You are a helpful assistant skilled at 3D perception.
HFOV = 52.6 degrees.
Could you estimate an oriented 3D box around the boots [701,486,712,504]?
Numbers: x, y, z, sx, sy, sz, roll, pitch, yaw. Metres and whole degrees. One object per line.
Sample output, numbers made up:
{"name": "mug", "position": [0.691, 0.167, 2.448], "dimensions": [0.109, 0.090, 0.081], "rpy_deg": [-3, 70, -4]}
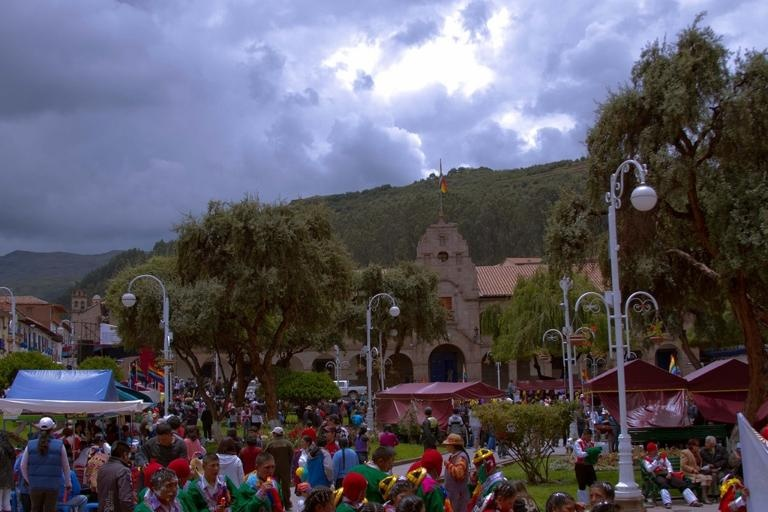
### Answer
{"name": "boots", "position": [10.159, 7.442, 24.369], "dimensions": [0.289, 0.536, 0.684], "rpy_deg": [-11, -20, 35]}

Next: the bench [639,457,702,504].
{"name": "bench", "position": [8.943, 6.998, 24.691], "dimensions": [0.834, 1.374, 1.997], "rpy_deg": [-1, -9, -17]}

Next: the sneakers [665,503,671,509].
{"name": "sneakers", "position": [8.727, 7.630, 23.830], "dimensions": [0.197, 0.154, 0.356], "rpy_deg": [-5, -18, 17]}

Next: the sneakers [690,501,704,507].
{"name": "sneakers", "position": [9.580, 7.557, 23.813], "dimensions": [0.390, 0.154, 0.256], "rpy_deg": [-5, -18, 14]}
